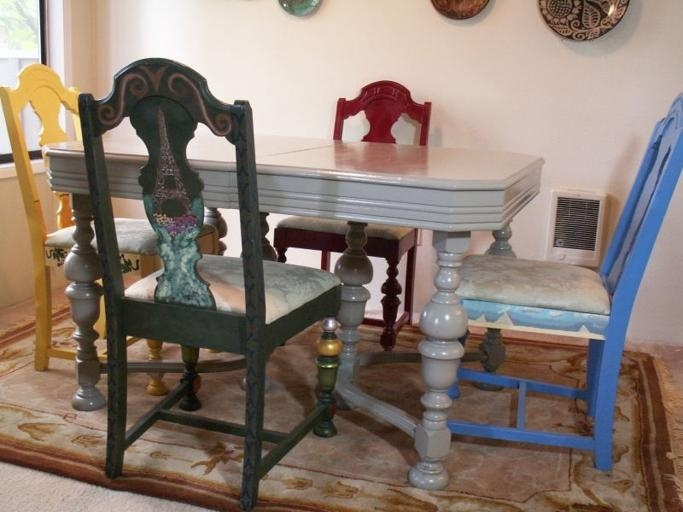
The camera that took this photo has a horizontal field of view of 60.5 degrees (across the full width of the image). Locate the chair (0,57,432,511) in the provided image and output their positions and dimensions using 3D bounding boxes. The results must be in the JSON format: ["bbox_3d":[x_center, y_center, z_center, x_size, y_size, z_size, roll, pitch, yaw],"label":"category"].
[{"bbox_3d":[-0.434,0.079,1.863,0.743,1.341,0.606,10,23,19],"label":"chair"}]
